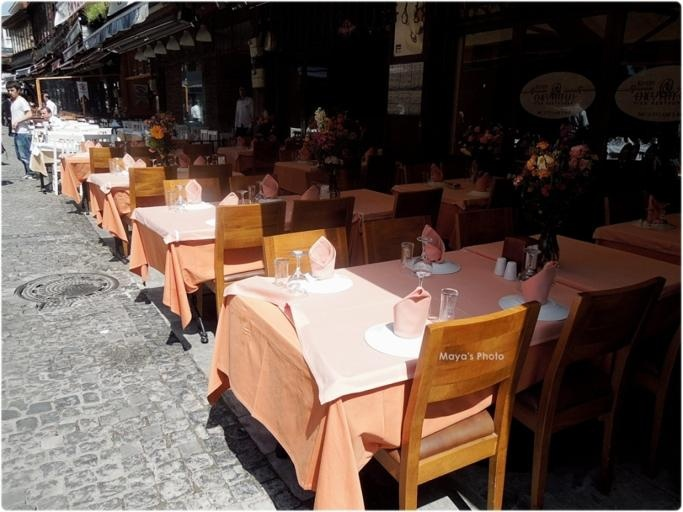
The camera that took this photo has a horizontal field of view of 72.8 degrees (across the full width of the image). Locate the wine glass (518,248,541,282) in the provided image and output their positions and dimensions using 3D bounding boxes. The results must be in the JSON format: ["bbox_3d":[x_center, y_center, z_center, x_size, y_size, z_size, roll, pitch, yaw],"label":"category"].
[{"bbox_3d":[1.245,0.038,3.067,0.184,0.232,0.197,4,13,18],"label":"wine glass"}]

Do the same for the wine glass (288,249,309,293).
[{"bbox_3d":[-0.262,0.094,2.941,0.174,0.174,0.287,3,-27,-4],"label":"wine glass"}]

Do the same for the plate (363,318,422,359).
[{"bbox_3d":[0.273,0.436,2.405,0.335,0.046,0.257,16,22,37],"label":"plate"}]

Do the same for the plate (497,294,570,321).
[{"bbox_3d":[1.135,0.284,2.750,0.371,0.049,0.326,12,21,30],"label":"plate"}]

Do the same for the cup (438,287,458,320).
[{"bbox_3d":[0.584,0.266,2.552,0.096,0.168,0.099,3,19,-1],"label":"cup"}]

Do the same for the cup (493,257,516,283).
[{"bbox_3d":[1.117,0.089,3.152,0.090,0.135,0.170,-11,20,-33],"label":"cup"}]
